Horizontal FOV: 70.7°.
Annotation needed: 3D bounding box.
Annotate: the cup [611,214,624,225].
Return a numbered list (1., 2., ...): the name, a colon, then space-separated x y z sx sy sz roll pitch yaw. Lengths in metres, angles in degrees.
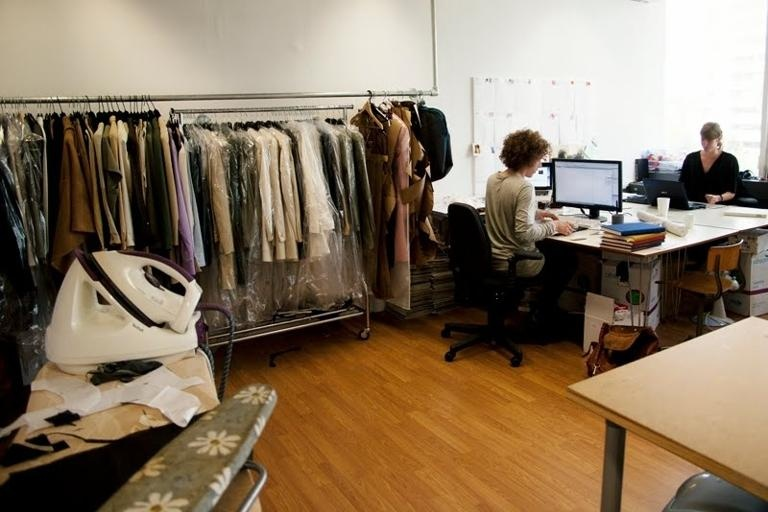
1. cup: 1.710 -0.278 3.966 0.079 0.083 0.083 -1 5 0

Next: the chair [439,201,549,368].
1. chair: 0.626 0.105 4.338 0.930 1.359 1.003 -2 11 -5

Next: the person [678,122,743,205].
1. person: 3.177 -0.891 5.335 0.486 0.825 0.473 10 35 39

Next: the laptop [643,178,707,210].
1. laptop: 2.608 -0.660 4.849 0.357 0.281 0.389 -9 13 -30

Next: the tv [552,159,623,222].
1. tv: 1.690 -0.563 4.489 0.159 0.425 0.484 -7 12 -34

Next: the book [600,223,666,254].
1. book: 1.687 -0.166 3.716 0.231 0.110 0.311 -11 11 -34

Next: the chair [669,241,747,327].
1. chair: 2.539 0.197 4.243 0.479 0.706 0.454 -13 17 -38

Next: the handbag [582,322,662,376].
1. handbag: 1.582 0.606 3.592 0.483 0.334 0.332 -20 14 -40
